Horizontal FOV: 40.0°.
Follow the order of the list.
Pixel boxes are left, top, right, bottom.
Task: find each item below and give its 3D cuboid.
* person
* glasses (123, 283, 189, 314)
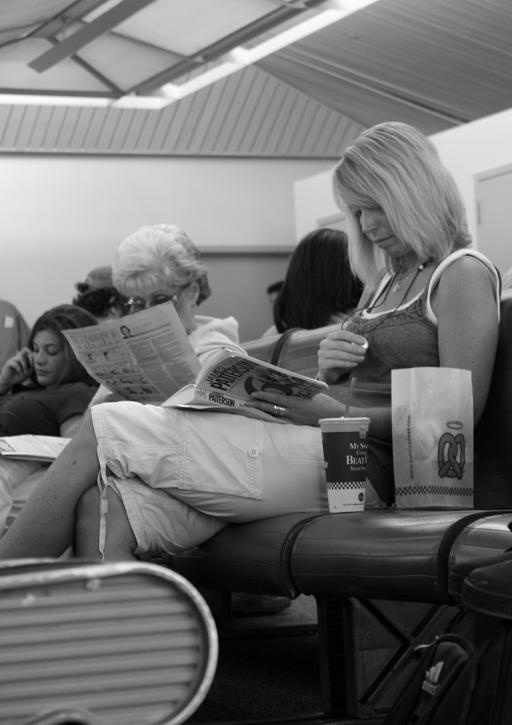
[{"bbox_3d":[0.005,0.127,1.695,1.329,1.075,0.595,7,-20,-20],"label":"person"},{"bbox_3d":[-0.288,-0.194,1.953,0.124,0.034,0.132,-12,-1,42],"label":"glasses"}]
